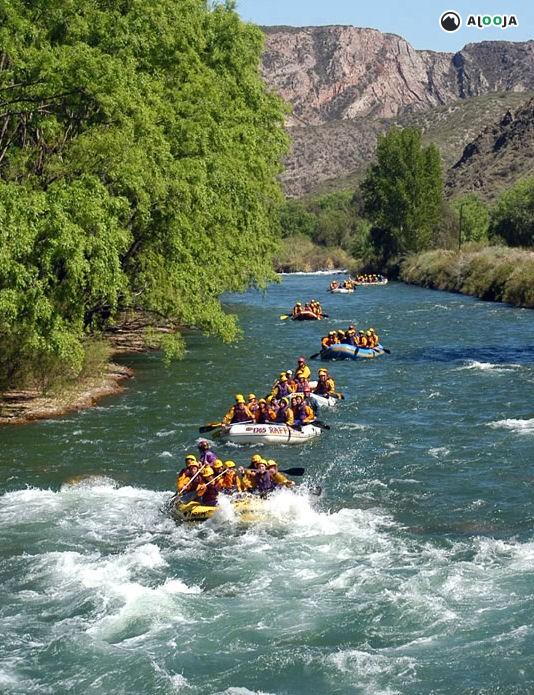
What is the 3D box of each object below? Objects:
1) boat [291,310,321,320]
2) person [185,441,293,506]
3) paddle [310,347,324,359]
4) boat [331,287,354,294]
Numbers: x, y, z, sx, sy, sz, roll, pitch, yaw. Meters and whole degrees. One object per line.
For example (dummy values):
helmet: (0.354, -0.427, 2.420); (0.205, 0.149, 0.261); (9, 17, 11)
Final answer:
boat: (2.565, -2.090, 63.095); (1.736, 0.634, 0.723); (2, 14, 6)
person: (-1.058, 3.030, 24.271); (1.859, 0.708, 1.387); (3, 5, 44)
paddle: (2.439, 0.273, 46.184); (0.321, 0.264, 0.887); (-6, 17, 47)
boat: (7.137, -5.435, 93.094); (2.159, 0.519, 2.722); (2, 13, 6)
